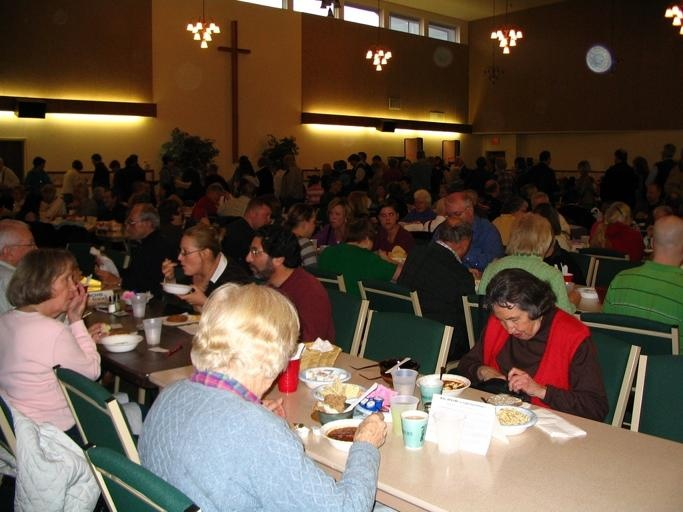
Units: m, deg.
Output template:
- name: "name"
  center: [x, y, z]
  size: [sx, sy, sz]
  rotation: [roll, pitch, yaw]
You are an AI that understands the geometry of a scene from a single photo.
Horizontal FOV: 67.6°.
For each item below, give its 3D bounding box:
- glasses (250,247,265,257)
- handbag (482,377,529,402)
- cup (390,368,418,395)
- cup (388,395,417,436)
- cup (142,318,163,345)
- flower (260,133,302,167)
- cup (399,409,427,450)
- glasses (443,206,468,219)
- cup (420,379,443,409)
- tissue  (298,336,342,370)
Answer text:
- name: "glasses"
  center: [-0.484, -0.029, 2.895]
  size: [0.051, 0.018, 0.051]
  rotation: [-14, 20, -28]
- name: "handbag"
  center: [0.700, 0.576, 2.210]
  size: [0.088, 0.041, 0.122]
  rotation: [2, 8, -42]
- name: "cup"
  center: [0.245, 0.484, 1.982]
  size: [0.091, 0.078, 0.100]
  rotation: [0, 2, 2]
- name: "cup"
  center: [0.211, 0.540, 1.814]
  size: [0.114, 0.130, 0.121]
  rotation: [1, 8, 0]
- name: "cup"
  center: [-1.015, 0.394, 2.748]
  size: [0.115, 0.148, 0.126]
  rotation: [1, 3, 0]
- name: "flower"
  center: [-1.607, -2.724, 12.993]
  size: [0.794, 1.008, 0.957]
  rotation: [17, 31, 28]
- name: "cup"
  center: [0.237, 0.568, 1.672]
  size: [0.098, 0.104, 0.092]
  rotation: [-1, 2, 0]
- name: "glasses"
  center: [1.053, -0.403, 4.837]
  size: [0.207, 0.071, 0.195]
  rotation: [-3, 6, -45]
- name: "cup"
  center: [0.343, 0.514, 1.960]
  size: [0.094, 0.105, 0.096]
  rotation: [0, 2, 0]
- name: "tissue "
  center: [-0.102, 0.459, 2.384]
  size: [0.138, 0.056, 0.135]
  rotation: [9, 14, 39]
